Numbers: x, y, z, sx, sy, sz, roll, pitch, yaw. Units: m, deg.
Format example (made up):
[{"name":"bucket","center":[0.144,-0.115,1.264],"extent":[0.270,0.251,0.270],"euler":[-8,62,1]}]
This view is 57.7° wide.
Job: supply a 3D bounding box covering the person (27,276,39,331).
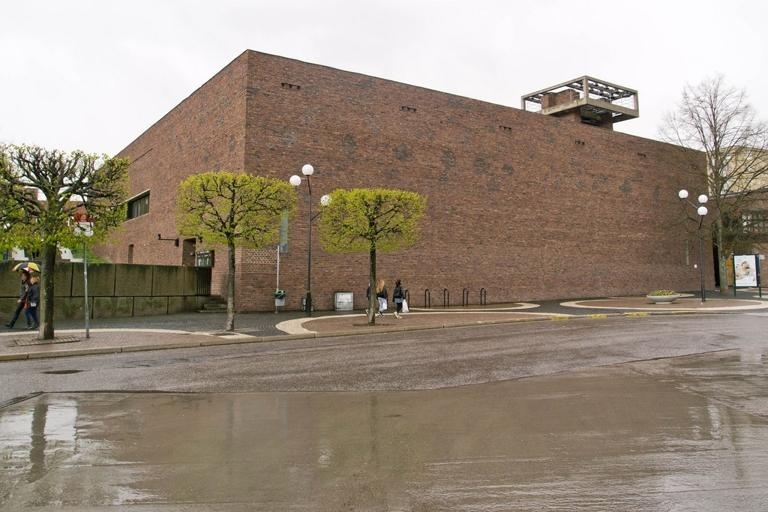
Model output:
[{"name":"person","center":[-12.768,1.730,25.267],"extent":[0.495,1.961,1.223],"euler":[-2,5,-27]}]
